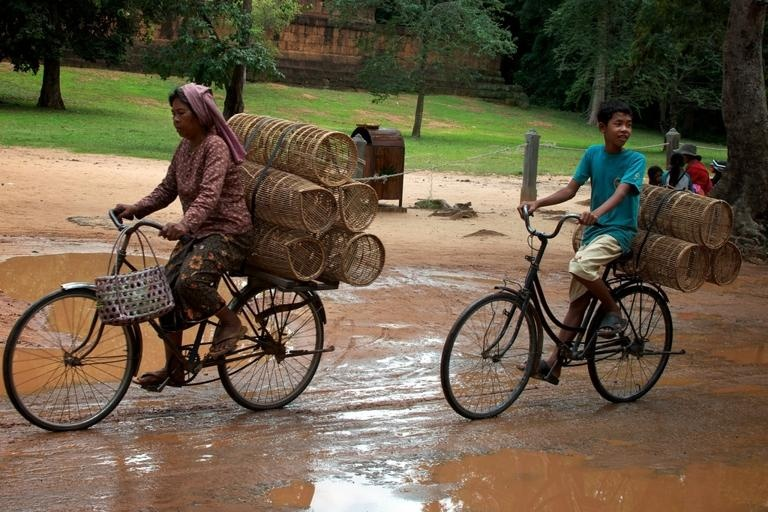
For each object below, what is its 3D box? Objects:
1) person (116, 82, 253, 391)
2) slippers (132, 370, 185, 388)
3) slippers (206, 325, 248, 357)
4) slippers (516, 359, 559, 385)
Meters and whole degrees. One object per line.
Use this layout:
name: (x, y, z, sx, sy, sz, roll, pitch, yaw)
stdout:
person: (-1.917, -0.182, 8.880, 1.123, 2.982, 0.950, 0, 15, -26)
slippers: (-2.220, 1.211, 8.813, 0.491, 0.159, 0.170, 5, -5, -11)
slippers: (-1.571, 0.856, 8.862, 0.472, 0.166, 0.121, -31, 9, -7)
slippers: (1.645, 1.208, 9.413, 0.570, 0.180, 0.184, 18, -9, -6)
